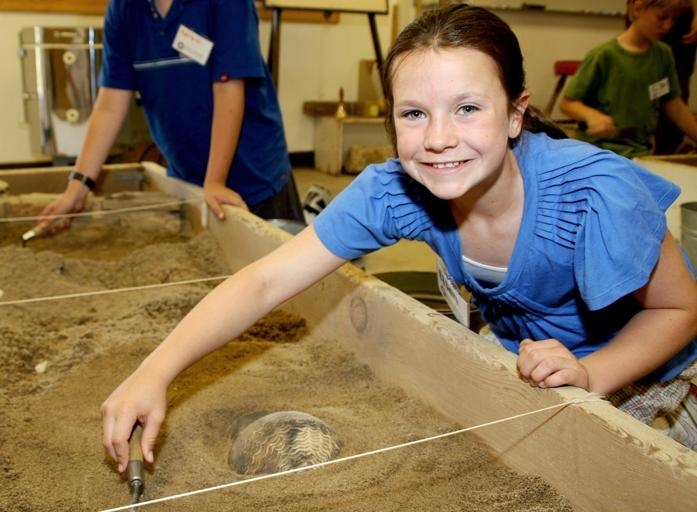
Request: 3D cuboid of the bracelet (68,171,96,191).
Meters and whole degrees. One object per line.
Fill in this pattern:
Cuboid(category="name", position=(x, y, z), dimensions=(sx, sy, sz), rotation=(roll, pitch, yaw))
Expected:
Cuboid(category="bracelet", position=(-0.789, -0.219, 1.911), dimensions=(0.072, 0.047, 0.108), rotation=(-1, 18, -21))

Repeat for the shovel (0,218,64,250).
Cuboid(category="shovel", position=(-0.846, -0.071, 1.691), dimensions=(0.159, 0.061, 0.078), rotation=(4, 16, -6))
